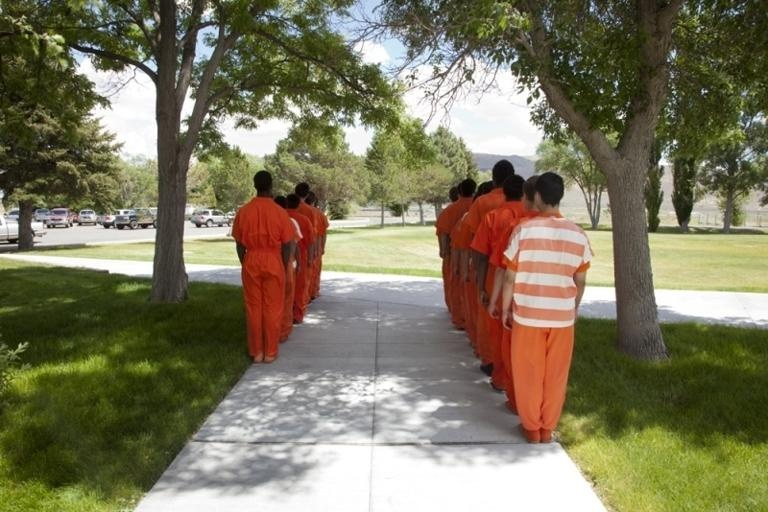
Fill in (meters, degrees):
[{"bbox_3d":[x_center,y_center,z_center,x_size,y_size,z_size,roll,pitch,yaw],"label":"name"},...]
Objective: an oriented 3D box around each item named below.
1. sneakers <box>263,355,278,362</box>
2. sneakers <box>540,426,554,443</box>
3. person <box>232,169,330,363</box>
[{"bbox_3d":[-1.770,1.593,8.772,0.072,0.090,0.204,-7,-10,29],"label":"sneakers"},{"bbox_3d":[1.987,2.179,6.854,0.157,0.210,0.286,-3,-12,18],"label":"sneakers"},{"bbox_3d":[-1.850,0.165,8.669,0.926,2.948,0.322,-1,6,-11],"label":"person"}]
